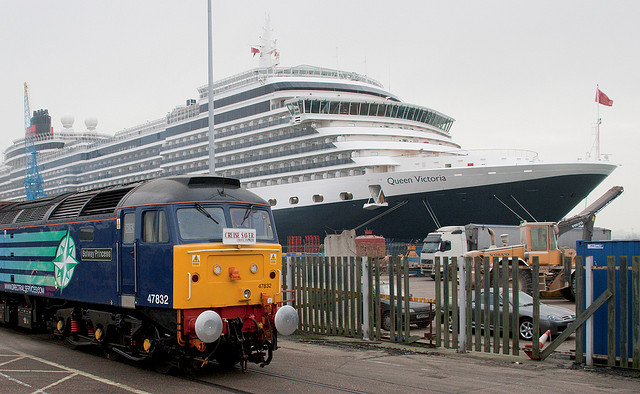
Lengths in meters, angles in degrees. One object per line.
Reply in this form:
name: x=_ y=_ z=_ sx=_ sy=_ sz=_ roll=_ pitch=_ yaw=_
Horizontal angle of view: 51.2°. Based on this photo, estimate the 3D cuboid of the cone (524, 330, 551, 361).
cone: x=6.032 y=4.074 z=18.635 sx=0.596 sy=0.730 sz=0.841 roll=2 pitch=4 yaw=32

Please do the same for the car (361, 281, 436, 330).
car: x=2.623 y=3.769 z=22.002 sx=2.307 sy=1.778 sz=2.326 roll=0 pitch=-2 yaw=-18

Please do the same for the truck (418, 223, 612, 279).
truck: x=10.748 y=2.757 z=36.621 sx=2.617 sy=2.880 sz=9.378 roll=11 pitch=-12 yaw=-31

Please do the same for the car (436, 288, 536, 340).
car: x=4.847 y=3.431 z=19.457 sx=3.537 sy=1.058 sz=1.576 roll=-5 pitch=-5 yaw=31

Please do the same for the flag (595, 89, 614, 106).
flag: x=15.943 y=-5.641 z=37.634 sx=0.736 sy=0.936 sz=1.898 roll=1 pitch=4 yaw=23
